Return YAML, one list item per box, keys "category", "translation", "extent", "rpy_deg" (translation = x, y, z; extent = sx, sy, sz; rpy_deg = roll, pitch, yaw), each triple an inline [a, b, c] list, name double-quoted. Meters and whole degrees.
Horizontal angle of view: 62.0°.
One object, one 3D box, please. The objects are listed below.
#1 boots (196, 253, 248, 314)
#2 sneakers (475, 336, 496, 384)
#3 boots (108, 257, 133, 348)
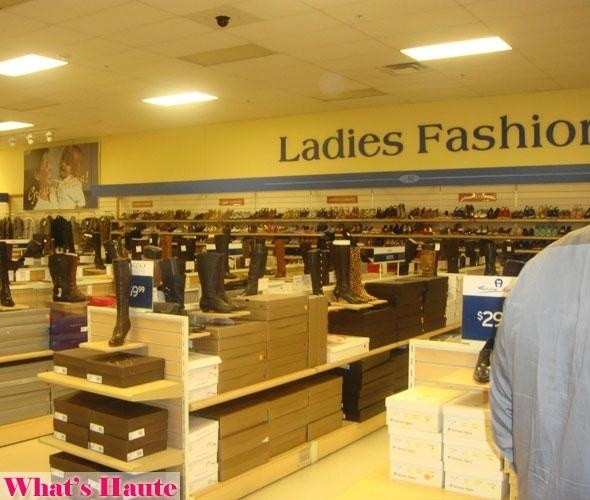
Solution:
- category: "boots"
  translation: [-0.565, 0.233, 3.565]
  extent: [0.256, 0.431, 0.215]
  rpy_deg: [0, 5, 37]
- category: "sneakers"
  translation: [0.933, 0.539, 2.424]
  extent: [0.104, 0.107, 0.298]
  rpy_deg: [2, 15, 25]
- category: "boots"
  translation: [-1.073, 0.326, 3.079]
  extent: [0.182, 0.546, 0.183]
  rpy_deg: [1, 5, 43]
